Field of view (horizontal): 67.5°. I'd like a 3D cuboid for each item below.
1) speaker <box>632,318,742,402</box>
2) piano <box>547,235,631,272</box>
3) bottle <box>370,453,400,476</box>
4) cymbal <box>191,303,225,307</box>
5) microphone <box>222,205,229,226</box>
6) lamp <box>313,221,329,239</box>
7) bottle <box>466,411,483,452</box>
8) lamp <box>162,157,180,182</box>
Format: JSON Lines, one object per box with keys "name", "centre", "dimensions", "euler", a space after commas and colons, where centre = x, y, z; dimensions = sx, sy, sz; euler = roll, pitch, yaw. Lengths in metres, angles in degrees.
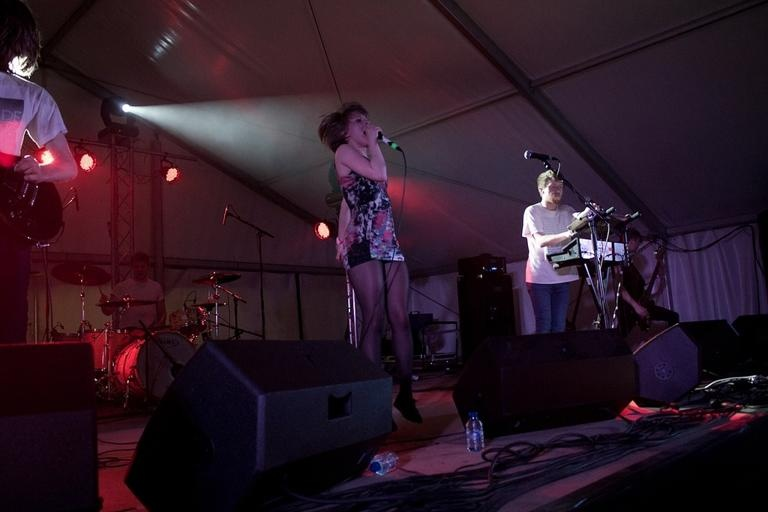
{"name": "speaker", "centre": [2.166, 0.740, 4.153], "dimensions": [0.573, 0.592, 1.127], "euler": [-7, -5, 44]}
{"name": "piano", "centre": [1.786, -0.040, 4.923], "dimensions": [0.807, 0.264, 0.332], "euler": [-5, 5, -33]}
{"name": "bottle", "centre": [0.001, 1.157, 3.202], "dimensions": [0.100, 0.102, 0.178], "euler": [-3, -13, 17]}
{"name": "cymbal", "centre": [-2.378, 0.651, 7.730], "dimensions": [0.228, 0.049, 0.235], "euler": [-1, -4, -8]}
{"name": "microphone", "centre": [-2.586, -0.659, 9.279], "dimensions": [0.077, 0.356, 0.092], "euler": [17, 3, 0]}
{"name": "lamp", "centre": [-0.972, -0.413, 8.784], "dimensions": [0.306, 0.327, 0.077], "euler": [0, 2, -7]}
{"name": "bottle", "centre": [0.558, 1.058, 3.513], "dimensions": [0.110, 0.180, 0.251], "euler": [-1, 4, 9]}
{"name": "lamp", "centre": [-3.341, -1.345, 8.925], "dimensions": [0.299, 0.440, 0.125], "euler": [-15, 5, -40]}
